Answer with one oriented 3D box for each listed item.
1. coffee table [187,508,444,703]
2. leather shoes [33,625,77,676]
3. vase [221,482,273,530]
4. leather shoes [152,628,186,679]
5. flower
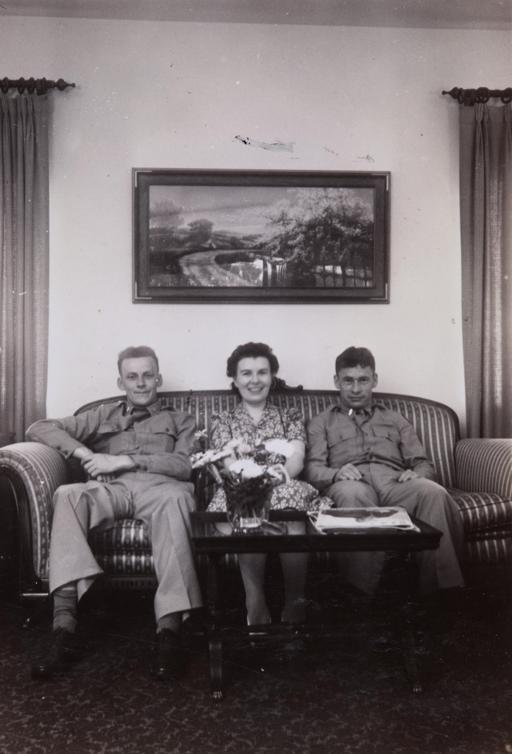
[{"bbox_3d":[0.131,0.513,1.859,0.567,0.379,0.401,-3,3,0],"label":"coffee table"},{"bbox_3d":[-0.476,0.642,1.823,0.089,0.074,0.160,-3,3,-6],"label":"leather shoes"},{"bbox_3d":[-0.021,0.293,1.767,0.077,0.096,0.114,0,-19,-1],"label":"vase"},{"bbox_3d":[-0.213,0.639,1.855,0.073,0.086,0.215,-3,3,-7],"label":"leather shoes"},{"bbox_3d":[-0.032,0.252,1.861,0.163,0.261,0.127,-1,-18,-4],"label":"flower"}]
